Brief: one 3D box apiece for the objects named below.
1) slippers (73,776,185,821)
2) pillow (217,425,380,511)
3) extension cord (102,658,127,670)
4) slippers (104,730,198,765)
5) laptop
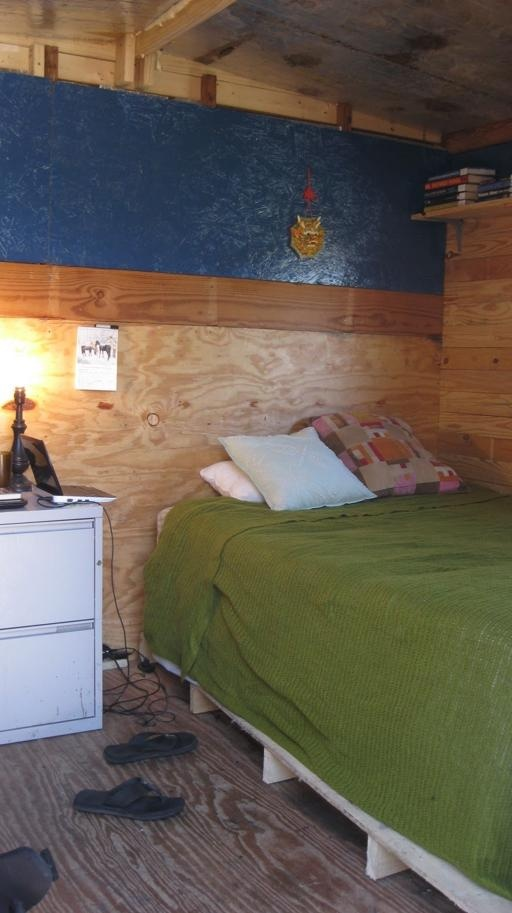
[{"bbox_3d":[-0.321,0.829,1.670,0.207,0.073,0.101,2,3,6],"label":"slippers"},{"bbox_3d":[0.165,0.057,2.621,0.495,0.126,0.516,-9,39,-34],"label":"pillow"},{"bbox_3d":[-0.565,0.828,2.663,0.090,0.034,0.065,5,-8,-39],"label":"extension cord"},{"bbox_3d":[-0.303,0.850,1.959,0.174,0.044,0.093,-4,4,-24],"label":"slippers"},{"bbox_3d":[-0.608,-0.019,2.151,0.234,0.188,0.288,1,8,-25],"label":"laptop"}]
